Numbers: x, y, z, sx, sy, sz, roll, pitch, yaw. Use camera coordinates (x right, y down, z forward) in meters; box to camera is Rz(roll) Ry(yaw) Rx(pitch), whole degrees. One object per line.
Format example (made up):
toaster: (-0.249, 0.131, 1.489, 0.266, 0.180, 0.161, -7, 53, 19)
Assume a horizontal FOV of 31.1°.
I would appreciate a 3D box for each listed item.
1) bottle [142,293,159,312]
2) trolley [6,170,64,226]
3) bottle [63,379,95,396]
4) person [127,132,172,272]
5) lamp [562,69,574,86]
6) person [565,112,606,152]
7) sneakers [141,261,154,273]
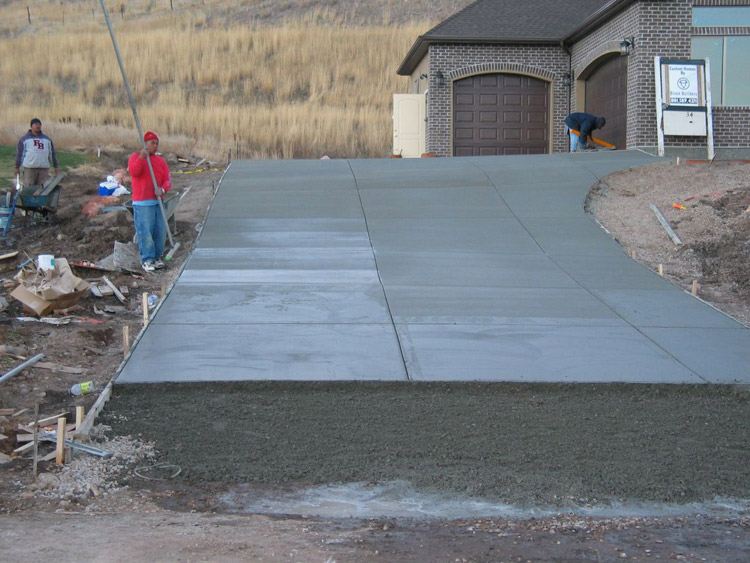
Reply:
bottle: (-4.109, 0.324, 24.628, 0.299, 0.120, 0.376, 3, 21, -13)
trolley: (-7.414, -1.801, 29.064, 0.796, 0.842, 1.235, 4, 26, 4)
bottle: (-4.881, 1.779, 22.351, 0.420, 0.179, 0.382, 0, 10, 0)
person: (-4.388, -1.556, 26.182, 0.789, 2.677, 0.611, -8, 13, -36)
lamp: (5.255, -5.585, 36.833, 0.386, 0.531, 0.407, 1, 1, -2)
person: (5.153, -3.845, 33.413, 1.138, 0.702, 0.360, 15, 31, 25)
sneakers: (-4.412, -0.279, 26.123, 0.241, 0.189, 0.178, -2, 11, -9)
